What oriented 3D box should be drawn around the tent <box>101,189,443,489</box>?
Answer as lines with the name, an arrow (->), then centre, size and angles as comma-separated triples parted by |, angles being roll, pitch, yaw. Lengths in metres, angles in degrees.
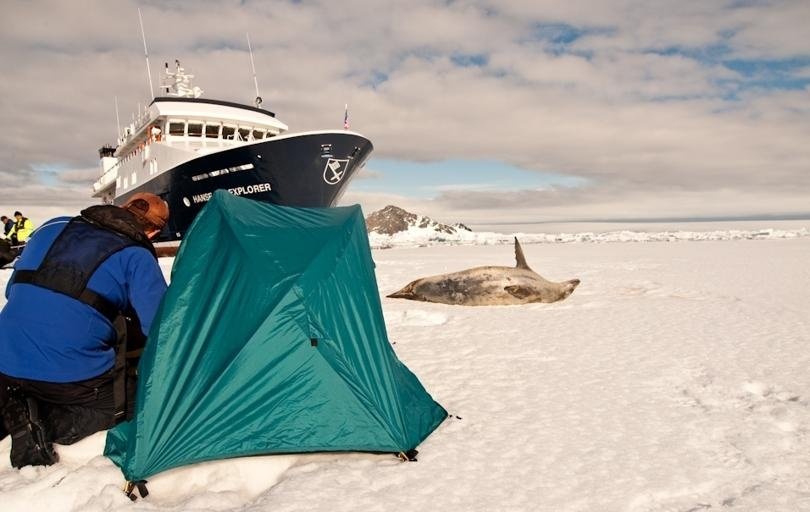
tent -> -1.567, 0.998, 10.105 | 4.321, 3.328, 3.979 | -1, -3, 42

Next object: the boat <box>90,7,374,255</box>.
boat -> -6.095, -3.384, 28.753 | 5.203, 7.912, 21.967 | -5, 0, -41
